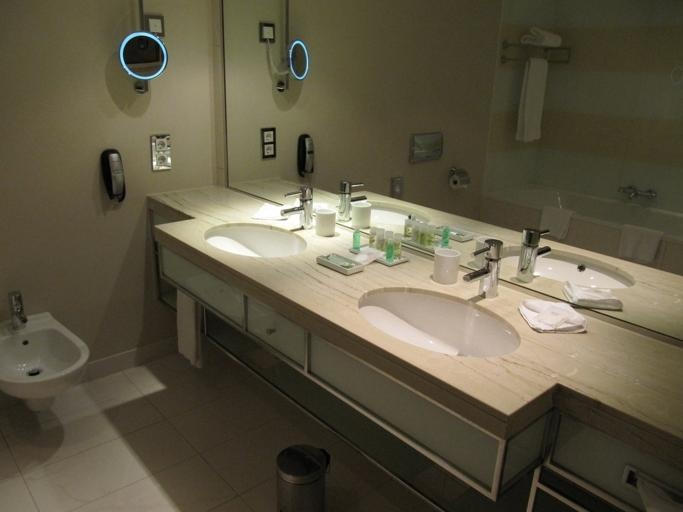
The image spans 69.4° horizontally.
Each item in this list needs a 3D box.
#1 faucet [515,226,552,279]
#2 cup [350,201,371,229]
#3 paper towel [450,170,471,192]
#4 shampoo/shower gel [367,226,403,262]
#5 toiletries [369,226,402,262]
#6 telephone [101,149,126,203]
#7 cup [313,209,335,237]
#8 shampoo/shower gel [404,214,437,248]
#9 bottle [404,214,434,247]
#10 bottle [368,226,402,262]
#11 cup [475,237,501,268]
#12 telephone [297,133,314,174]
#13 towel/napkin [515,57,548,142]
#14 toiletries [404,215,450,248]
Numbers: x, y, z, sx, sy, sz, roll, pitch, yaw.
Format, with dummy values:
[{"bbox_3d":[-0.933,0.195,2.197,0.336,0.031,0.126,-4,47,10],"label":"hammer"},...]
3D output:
[{"bbox_3d":[0.776,-0.014,1.978,0.146,0.255,0.084,-7,27,-6],"label":"faucet"},{"bbox_3d":[0.108,-0.201,2.472,0.119,0.139,0.109,-1,9,0],"label":"cup"},{"bbox_3d":[0.518,-0.329,2.138,0.069,0.069,0.038,-13,31,-25],"label":"paper towel"},{"bbox_3d":[0.203,-0.050,2.301,0.047,0.128,0.139,-9,18,-24],"label":"shampoo/shower gel"},{"bbox_3d":[0.200,-0.049,2.293,0.045,0.127,0.133,-12,19,-29],"label":"toiletries"},{"bbox_3d":[-1.347,-0.457,2.905,0.133,0.327,0.117,-8,22,-26],"label":"telephone"},{"bbox_3d":[-0.086,-0.173,2.569,0.117,0.123,0.113,3,23,-1],"label":"cup"},{"bbox_3d":[0.379,-0.123,2.345,0.047,0.111,0.118,-25,36,-35],"label":"shampoo/shower gel"},{"bbox_3d":[0.373,-0.123,2.350,0.061,0.103,0.106,-27,40,-34],"label":"bottle"},{"bbox_3d":[0.199,-0.049,2.294,0.046,0.127,0.133,-13,20,-31],"label":"bottle"},{"bbox_3d":[0.597,-0.017,2.018,0.082,0.121,0.146,9,0,37],"label":"cup"},{"bbox_3d":[-0.201,-0.582,2.769,0.070,0.230,0.149,-8,23,-21],"label":"telephone"},{"bbox_3d":[0.720,-0.587,1.864,0.096,0.300,0.034,12,22,27],"label":"towel/napkin"},{"bbox_3d":[0.398,-0.110,2.331,0.126,0.066,0.179,-22,33,-37],"label":"toiletries"}]
